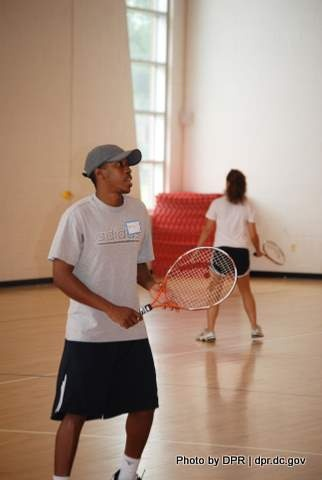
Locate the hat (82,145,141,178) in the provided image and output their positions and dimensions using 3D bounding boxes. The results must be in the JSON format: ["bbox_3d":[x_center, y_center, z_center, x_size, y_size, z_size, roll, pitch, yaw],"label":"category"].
[{"bbox_3d":[-0.192,-0.275,1.494,0.192,0.090,0.127,-27,-4,14],"label":"hat"}]

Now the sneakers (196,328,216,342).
[{"bbox_3d":[0.497,1.039,4.644,0.096,0.113,0.242,2,-4,-36],"label":"sneakers"}]

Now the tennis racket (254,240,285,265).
[{"bbox_3d":[2.065,0.211,7.984,0.101,0.444,0.435,-44,13,20],"label":"tennis racket"}]
